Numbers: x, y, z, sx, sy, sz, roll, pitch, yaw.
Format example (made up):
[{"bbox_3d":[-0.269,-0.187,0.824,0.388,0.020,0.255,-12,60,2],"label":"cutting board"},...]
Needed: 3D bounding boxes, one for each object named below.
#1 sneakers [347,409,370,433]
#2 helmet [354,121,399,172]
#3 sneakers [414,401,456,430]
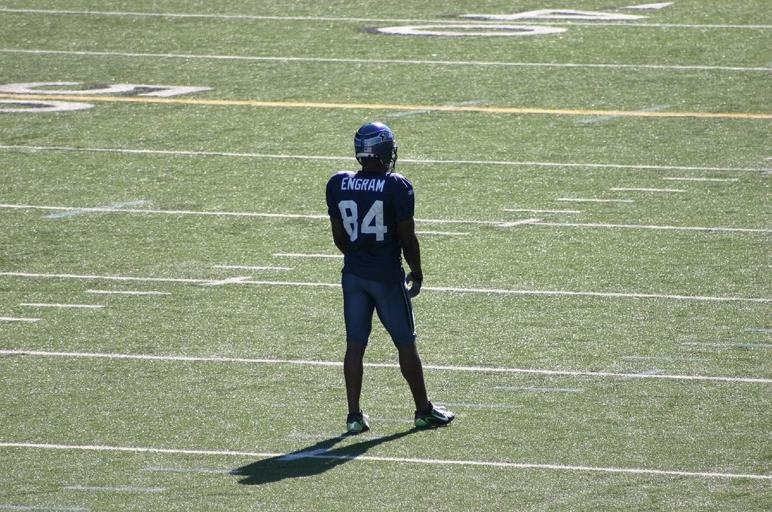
[{"bbox_3d":[-0.292,1.806,22.285,0.180,0.124,0.338,1,5,12],"label":"sneakers"},{"bbox_3d":[-0.104,-1.246,22.536,0.462,0.381,0.531,5,0,28],"label":"helmet"},{"bbox_3d":[0.626,1.758,22.365,0.655,0.236,0.187,-2,7,-5],"label":"sneakers"}]
